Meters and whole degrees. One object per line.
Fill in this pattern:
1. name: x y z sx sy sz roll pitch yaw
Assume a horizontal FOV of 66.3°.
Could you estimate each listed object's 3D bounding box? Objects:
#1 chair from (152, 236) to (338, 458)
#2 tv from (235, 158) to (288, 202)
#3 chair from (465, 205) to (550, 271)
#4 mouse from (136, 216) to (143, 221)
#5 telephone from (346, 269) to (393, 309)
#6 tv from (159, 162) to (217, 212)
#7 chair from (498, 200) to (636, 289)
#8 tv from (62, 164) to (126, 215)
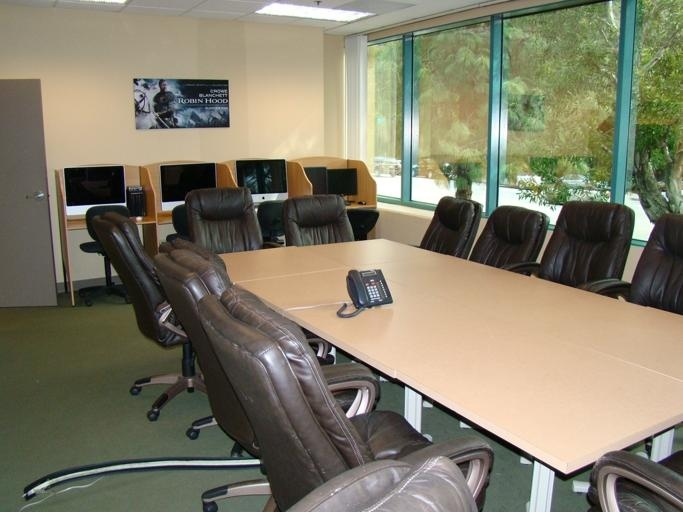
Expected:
1. chair: -0.501 0.160 2.975 1.037 1.495 1.011 -5 12 -26
2. tv: -0.992 -0.931 6.369 0.627 0.646 0.335 -5 9 -15
3. chair: 1.376 -0.155 4.448 0.563 0.721 0.486 1 13 -34
4. mouse: -2.275 -0.419 5.882 0.060 0.017 0.067 12 16 36
5. telephone: 0.155 0.173 2.983 0.220 0.125 0.302 -2 36 -16
6. tv: -1.700 -0.754 5.714 0.612 0.620 0.216 -4 11 -28
7. chair: 1.822 -0.142 4.190 0.779 0.992 0.677 -1 9 -28
8. tv: -2.681 -0.711 5.630 0.658 0.615 0.214 -7 11 -30
